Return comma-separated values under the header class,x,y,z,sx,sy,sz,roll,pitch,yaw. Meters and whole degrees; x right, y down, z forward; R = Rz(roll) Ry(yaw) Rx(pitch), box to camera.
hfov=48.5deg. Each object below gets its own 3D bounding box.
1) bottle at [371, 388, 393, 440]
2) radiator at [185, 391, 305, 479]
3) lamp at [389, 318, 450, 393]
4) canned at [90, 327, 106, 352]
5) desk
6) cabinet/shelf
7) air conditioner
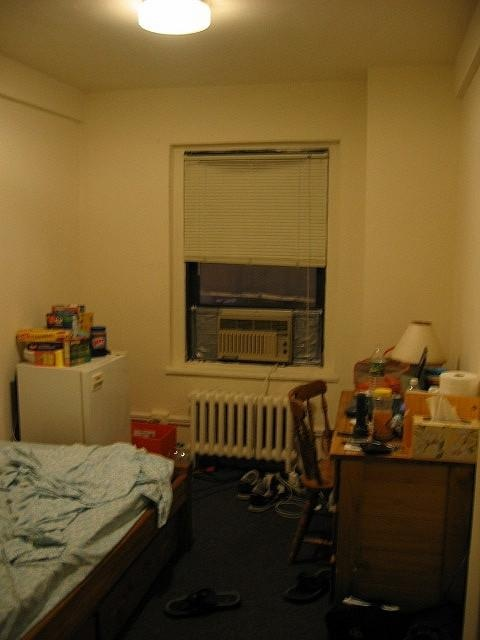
class,x,y,z,sx,sy,sz,roll,pitch,yaw
bottle,0.601,0.390,2.181,0.090,0.145,0.169,-8,-6,21
radiator,0.019,0.713,3.512,0.745,0.474,0.116,9,-26,-32
lamp,0.861,0.147,2.510,0.271,0.406,0.281,2,8,31
canned,-0.842,0.112,3.186,0.058,0.141,0.127,-1,4,19
desk,0.679,0.712,2.442,0.650,0.999,1.083,1,1,14
cabinet/shelf,-0.941,0.510,3.161,0.508,0.734,0.526,1,6,9
air conditioner,0.095,0.094,3.557,0.633,0.472,0.338,3,13,9
